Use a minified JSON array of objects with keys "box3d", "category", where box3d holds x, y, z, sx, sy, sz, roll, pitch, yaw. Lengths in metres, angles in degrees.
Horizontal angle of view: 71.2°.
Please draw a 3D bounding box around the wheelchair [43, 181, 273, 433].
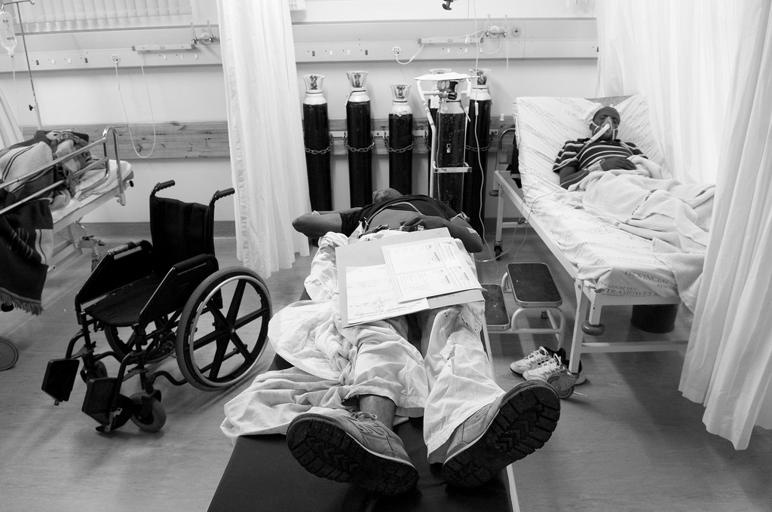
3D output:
[{"box3d":[-1.334,0.254,3.065,0.814,1.155,1.214,15,24,34],"category":"wheelchair"}]
